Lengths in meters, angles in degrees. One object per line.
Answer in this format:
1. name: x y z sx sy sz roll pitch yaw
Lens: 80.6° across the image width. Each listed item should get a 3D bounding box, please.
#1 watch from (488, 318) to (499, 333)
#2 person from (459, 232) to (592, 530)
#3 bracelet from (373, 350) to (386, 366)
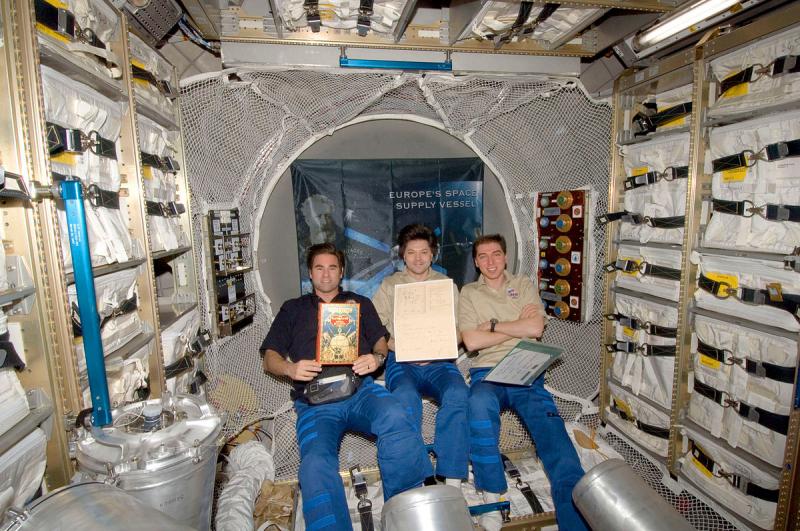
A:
1. watch: 0.791 0.507 4.006 0.064 0.104 0.104 3 51 10
2. person: 0.524 0.782 4.001 0.770 1.429 2.359 -3 36 -5
3. bracelet: -0.168 0.764 3.865 0.081 0.044 0.108 20 -4 -32
